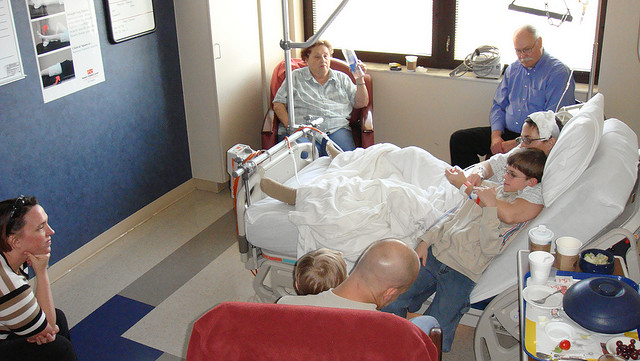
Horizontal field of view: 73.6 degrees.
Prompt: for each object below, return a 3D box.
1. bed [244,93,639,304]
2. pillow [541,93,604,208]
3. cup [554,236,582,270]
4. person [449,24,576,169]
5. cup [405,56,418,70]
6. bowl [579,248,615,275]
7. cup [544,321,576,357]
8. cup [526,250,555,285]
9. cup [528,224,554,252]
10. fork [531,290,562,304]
[{"bbox_3d":[0.671,0.189,3.112,2.443,1.363,1.416,16,34,25],"label":"bed"},{"bbox_3d":[1.582,-0.188,2.666,0.148,0.573,0.608,28,19,19],"label":"pillow"},{"bbox_3d":[1.336,0.405,2.306,0.148,0.142,0.138,-3,18,1],"label":"cup"},{"bbox_3d":[1.843,-0.560,4.174,1.219,1.646,1.006,-8,22,13],"label":"person"},{"bbox_3d":[0.998,-1.296,4.701,0.132,0.094,0.123,0,22,0],"label":"cup"},{"bbox_3d":[1.474,0.420,2.262,0.147,0.079,0.140,-4,19,2],"label":"bowl"},{"bbox_3d":[1.112,0.738,1.990,0.130,0.078,0.184,14,29,25],"label":"cup"},{"bbox_3d":[1.122,0.434,2.252,0.165,0.158,0.160,0,14,0],"label":"cup"},{"bbox_3d":[1.210,0.320,2.346,0.112,0.154,0.094,10,29,17],"label":"cup"},{"bbox_3d":[1.141,0.574,2.132,0.162,0.039,0.032,-8,29,-17],"label":"fork"}]
